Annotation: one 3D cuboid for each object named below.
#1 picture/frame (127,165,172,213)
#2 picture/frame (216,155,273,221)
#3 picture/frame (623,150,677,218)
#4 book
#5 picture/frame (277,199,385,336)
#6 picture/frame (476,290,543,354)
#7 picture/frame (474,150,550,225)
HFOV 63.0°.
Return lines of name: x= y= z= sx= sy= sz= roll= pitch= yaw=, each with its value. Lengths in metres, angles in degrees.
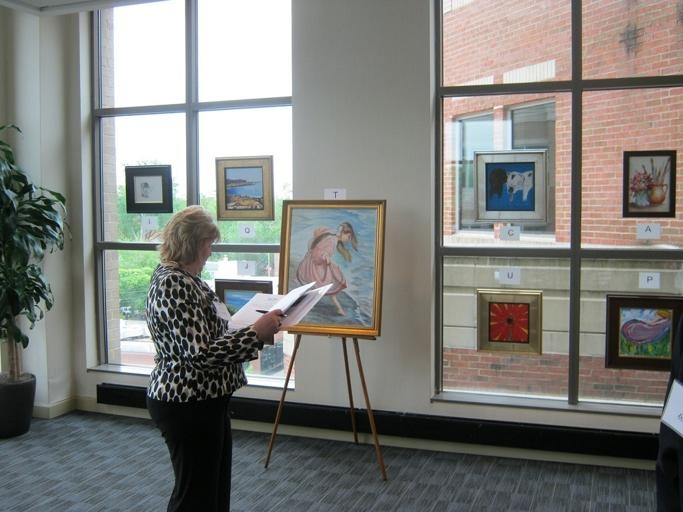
picture/frame: x=-1.865 y=-0.667 z=5.458 sx=0.431 sy=0.478 sz=0.033 roll=0 pitch=6 yaw=14
picture/frame: x=-0.878 y=-0.646 z=5.184 sx=0.561 sy=0.623 sz=0.043 roll=0 pitch=2 yaw=10
picture/frame: x=2.520 y=-0.595 z=4.499 sx=0.496 sy=0.748 sz=0.052 roll=0 pitch=0 yaw=8
book: x=-0.365 y=0.301 z=3.183 sx=0.356 sy=0.101 sz=0.357 roll=-6 pitch=28 yaw=36
picture/frame: x=-0.052 y=0.098 z=4.270 sx=0.978 sy=1.355 sz=0.089 roll=0 pitch=-5 yaw=12
picture/frame: x=1.441 y=0.558 z=4.769 sx=0.511 sy=0.569 sz=0.047 roll=0 pitch=16 yaw=17
picture/frame: x=1.474 y=-0.590 z=4.705 sx=0.571 sy=0.658 sz=0.049 roll=0 pitch=3 yaw=6
